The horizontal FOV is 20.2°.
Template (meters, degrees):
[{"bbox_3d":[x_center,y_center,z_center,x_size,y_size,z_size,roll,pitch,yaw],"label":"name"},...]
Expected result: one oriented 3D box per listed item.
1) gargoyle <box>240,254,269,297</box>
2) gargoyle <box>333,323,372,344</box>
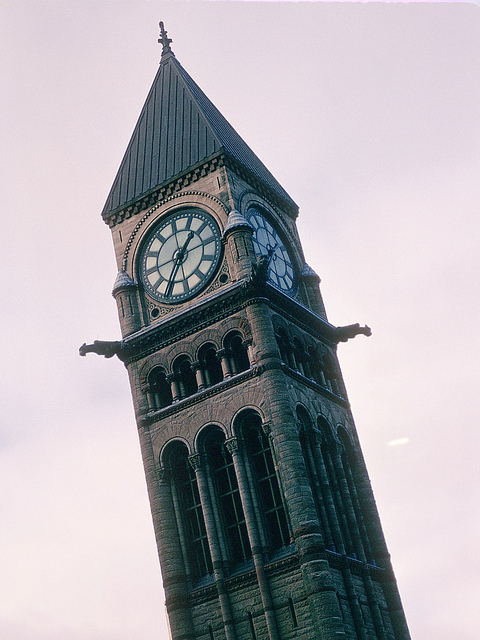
[{"bbox_3d":[0.735,-1.811,56.421,1.144,0.748,1.741,12,-74,-30],"label":"gargoyle"},{"bbox_3d":[4.546,0.514,55.299,1.766,0.683,0.577,-9,5,27],"label":"gargoyle"}]
